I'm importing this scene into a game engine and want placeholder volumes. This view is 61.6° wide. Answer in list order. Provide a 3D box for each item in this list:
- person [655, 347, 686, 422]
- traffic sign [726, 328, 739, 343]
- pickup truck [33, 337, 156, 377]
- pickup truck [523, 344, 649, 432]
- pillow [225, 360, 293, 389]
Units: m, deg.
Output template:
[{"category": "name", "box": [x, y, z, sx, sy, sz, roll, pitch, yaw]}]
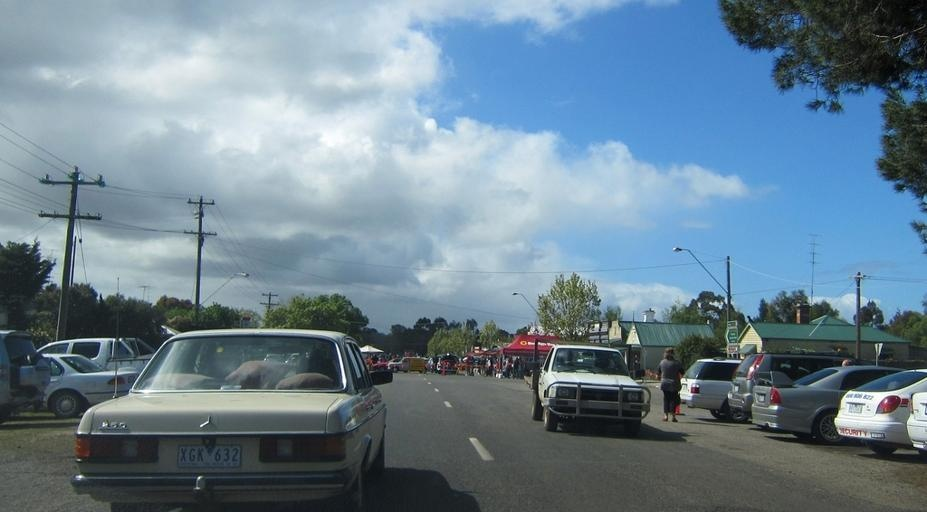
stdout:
[{"category": "person", "box": [6.954, 4.297, 26.077, 0.652, 2.389, 1.134, 2, -10, 14]}, {"category": "traffic sign", "box": [13.548, 3.994, 38.966, 0.179, 0.626, 0.645, 6, 1, -40]}, {"category": "pickup truck", "box": [-12.512, 3.441, 26.429, 3.021, 1.226, 1.641, 4, -5, 2]}, {"category": "pickup truck", "box": [3.812, 3.926, 23.361, 2.933, 2.715, 2.807, 5, -11, -3]}, {"category": "pillow", "box": [-4.174, 2.422, 15.772, 1.021, 0.573, 0.402, -18, -5, 4]}]
